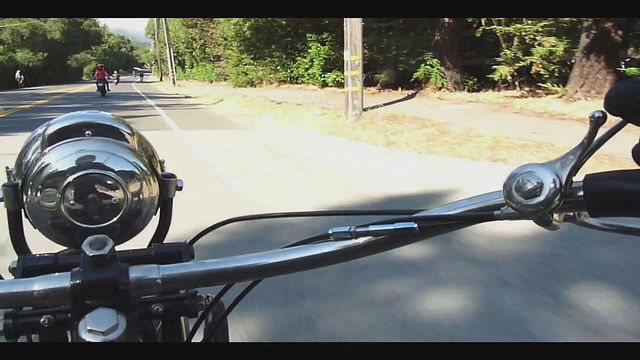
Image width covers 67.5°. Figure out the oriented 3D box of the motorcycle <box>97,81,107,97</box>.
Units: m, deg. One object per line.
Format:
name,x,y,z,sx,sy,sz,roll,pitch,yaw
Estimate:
motorcycle,-8.966,-3.749,19.752,0.292,0.642,0.583,-3,10,-23
